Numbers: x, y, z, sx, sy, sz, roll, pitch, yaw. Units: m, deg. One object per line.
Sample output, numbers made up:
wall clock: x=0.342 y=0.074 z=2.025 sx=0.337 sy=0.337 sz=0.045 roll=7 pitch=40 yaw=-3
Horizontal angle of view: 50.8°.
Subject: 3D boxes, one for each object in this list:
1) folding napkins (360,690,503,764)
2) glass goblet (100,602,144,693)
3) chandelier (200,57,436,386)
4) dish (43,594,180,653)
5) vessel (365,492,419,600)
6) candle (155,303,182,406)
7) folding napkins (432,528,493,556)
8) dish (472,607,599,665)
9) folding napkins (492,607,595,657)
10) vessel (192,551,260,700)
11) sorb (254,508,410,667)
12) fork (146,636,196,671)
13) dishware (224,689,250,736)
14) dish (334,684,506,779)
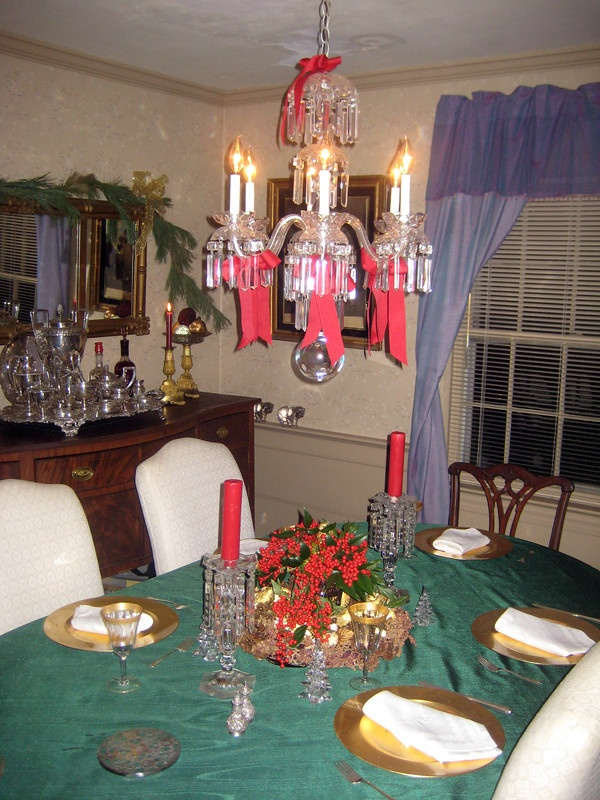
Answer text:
folding napkins: x=0.221 y=0.547 z=1.053 sx=0.207 sy=0.048 sz=0.134 roll=4 pitch=4 yaw=43
glass goblet: x=-0.345 y=0.464 z=1.227 sx=0.069 sy=0.180 sz=0.224 roll=1 pitch=3 yaw=-15
chandelier: x=0.043 y=-0.460 z=1.541 sx=0.563 sy=0.807 sz=0.521 roll=9 pitch=20 yaw=27
dish: x=-0.423 y=0.524 z=1.456 sx=0.202 sy=0.017 sz=0.208 roll=-8 pitch=18 yaw=-38
vessel: x=0.231 y=0.394 z=1.664 sx=0.126 sy=0.254 sz=0.123 roll=1 pitch=-9 yaw=27
candle: x=-0.747 y=-0.258 z=3.631 sx=0.220 sy=0.558 sz=0.205 roll=4 pitch=15 yaw=10
folding napkins: x=0.538 y=0.470 z=2.076 sx=0.089 sy=0.027 sz=0.106 roll=9 pitch=14 yaw=44
dish: x=0.540 y=0.497 z=1.436 sx=0.235 sy=0.026 sz=0.241 roll=-1 pitch=12 yaw=10
folding napkins: x=0.542 y=0.497 z=1.437 sx=0.178 sy=0.029 sz=0.109 roll=13 pitch=18 yaw=42
vessel: x=-0.139 y=0.425 z=1.250 sx=0.109 sy=0.286 sz=0.292 roll=1 pitch=3 yaw=-9
sorb: x=0.015 y=0.386 z=1.351 sx=0.334 sy=0.225 sz=0.335 roll=9 pitch=8 yaw=41
fork: x=-0.277 y=0.546 z=1.370 sx=0.025 sy=0.019 sz=0.139 roll=13 pitch=10 yaw=25
dishware: x=-0.105 y=0.531 z=1.078 sx=0.038 sy=0.081 sz=0.049 roll=1 pitch=3 yaw=-6
dish: x=0.204 y=0.569 z=1.089 sx=0.296 sy=0.025 sz=0.299 roll=-1 pitch=0 yaw=10
